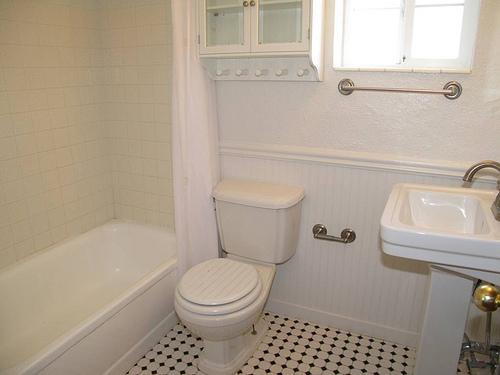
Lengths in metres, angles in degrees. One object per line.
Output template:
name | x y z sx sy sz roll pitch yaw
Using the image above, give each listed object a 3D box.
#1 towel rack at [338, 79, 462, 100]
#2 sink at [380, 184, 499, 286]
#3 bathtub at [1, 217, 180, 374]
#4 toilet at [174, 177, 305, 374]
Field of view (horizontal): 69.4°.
towel rack | 0.756 -0.508 1.864 0.610 0.095 0.104 9 24 20
sink | 0.735 0.217 1.510 0.419 0.198 0.458 12 35 30
bathtub | -0.977 0.639 2.147 0.663 0.346 1.033 9 18 24
toilet | -0.050 0.400 2.052 0.520 0.645 0.806 8 24 19
